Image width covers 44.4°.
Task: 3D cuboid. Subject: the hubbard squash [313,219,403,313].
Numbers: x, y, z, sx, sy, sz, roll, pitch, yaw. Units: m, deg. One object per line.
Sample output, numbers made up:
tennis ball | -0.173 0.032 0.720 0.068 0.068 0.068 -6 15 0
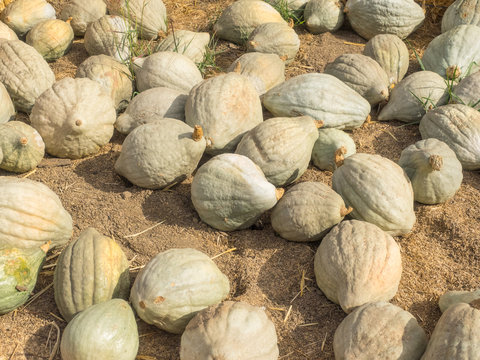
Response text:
hubbard squash | 1.083 0.770 5.356 0.671 0.516 0.808 5 58 7
